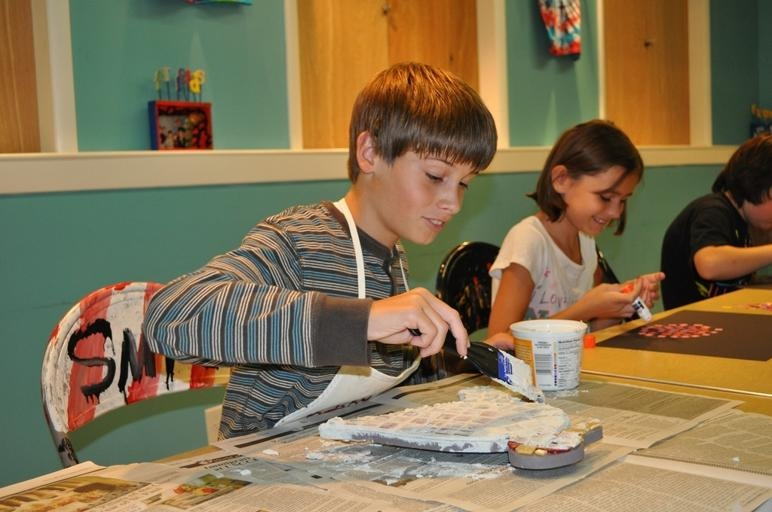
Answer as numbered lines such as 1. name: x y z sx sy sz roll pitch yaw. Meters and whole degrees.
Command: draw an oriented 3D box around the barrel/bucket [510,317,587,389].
1. barrel/bucket: 0.394 0.233 1.432 0.166 0.122 0.155 -3 7 0
